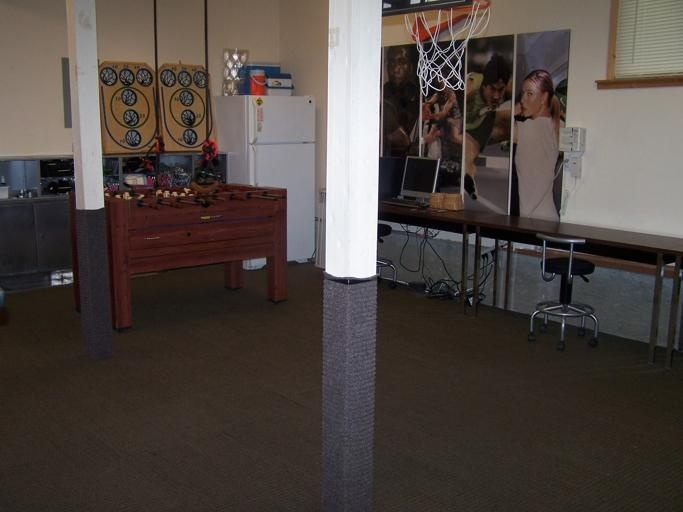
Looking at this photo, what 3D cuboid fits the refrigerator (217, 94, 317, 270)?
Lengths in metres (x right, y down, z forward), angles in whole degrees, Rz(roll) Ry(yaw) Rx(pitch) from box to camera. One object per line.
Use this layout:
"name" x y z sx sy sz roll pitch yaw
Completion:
"refrigerator" -1.108 -1.150 8.148 1.431 2.557 0.684 -1 12 -6

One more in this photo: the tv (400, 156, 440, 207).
"tv" 1.048 -0.996 7.038 0.204 0.610 0.551 1 16 -44
